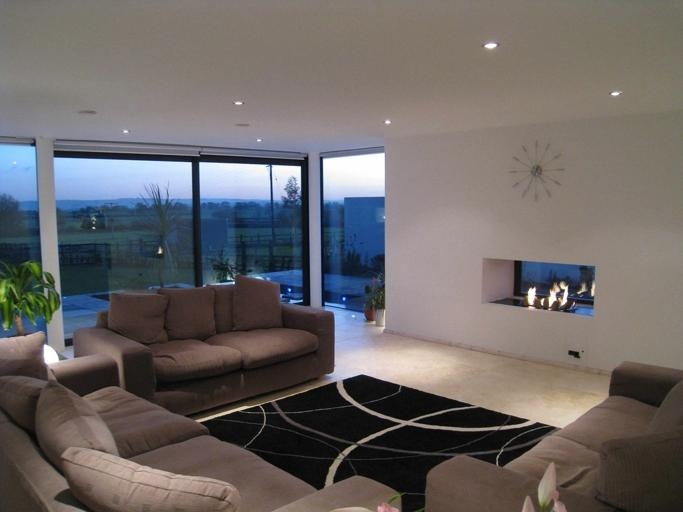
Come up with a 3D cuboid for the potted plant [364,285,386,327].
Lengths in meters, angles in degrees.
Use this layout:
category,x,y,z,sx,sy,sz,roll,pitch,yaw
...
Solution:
category,x,y,z,sx,sy,sz,roll,pitch,yaw
potted plant,0.542,0.759,7.488,0.258,0.547,0.516,-3,9,-12
